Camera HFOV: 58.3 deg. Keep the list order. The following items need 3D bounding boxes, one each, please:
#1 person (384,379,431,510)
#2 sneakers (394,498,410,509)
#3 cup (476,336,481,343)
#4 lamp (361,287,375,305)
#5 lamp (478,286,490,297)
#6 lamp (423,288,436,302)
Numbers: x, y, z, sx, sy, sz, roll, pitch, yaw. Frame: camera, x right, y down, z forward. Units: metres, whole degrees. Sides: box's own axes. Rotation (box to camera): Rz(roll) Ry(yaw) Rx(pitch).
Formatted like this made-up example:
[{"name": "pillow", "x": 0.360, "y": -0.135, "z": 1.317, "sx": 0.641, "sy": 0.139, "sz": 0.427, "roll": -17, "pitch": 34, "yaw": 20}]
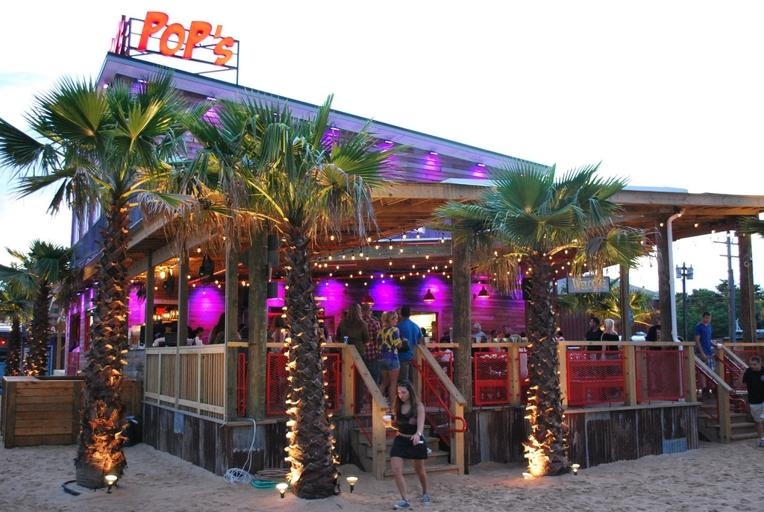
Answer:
[{"name": "person", "x": 0.491, "y": 3.247, "z": 11.933, "sx": 0.669, "sy": 2.086, "sz": 0.888, "roll": 2, "pitch": 2, "yaw": 25}, {"name": "sneakers", "x": 0.321, "y": 4.193, "z": 11.641, "sx": 0.297, "sy": 0.133, "sz": 0.113, "roll": -1, "pitch": -7, "yaw": 29}, {"name": "cup", "x": 2.488, "y": 2.153, "z": 17.715, "sx": 0.145, "sy": 0.145, "sz": 0.101, "roll": 5, "pitch": -7, "yaw": -40}, {"name": "lamp", "x": -0.544, "y": 1.437, "z": 24.885, "sx": 0.576, "sy": 0.641, "sz": 0.607, "roll": -1, "pitch": -9, "yaw": -2}, {"name": "lamp", "x": 3.706, "y": 1.308, "z": 24.910, "sx": 0.397, "sy": 0.315, "sz": 0.431, "roll": -1, "pitch": -9, "yaw": -4}, {"name": "lamp", "x": 1.767, "y": 1.430, "z": 25.495, "sx": 0.413, "sy": 0.452, "sz": 0.423, "roll": -1, "pitch": -8, "yaw": 0}]
